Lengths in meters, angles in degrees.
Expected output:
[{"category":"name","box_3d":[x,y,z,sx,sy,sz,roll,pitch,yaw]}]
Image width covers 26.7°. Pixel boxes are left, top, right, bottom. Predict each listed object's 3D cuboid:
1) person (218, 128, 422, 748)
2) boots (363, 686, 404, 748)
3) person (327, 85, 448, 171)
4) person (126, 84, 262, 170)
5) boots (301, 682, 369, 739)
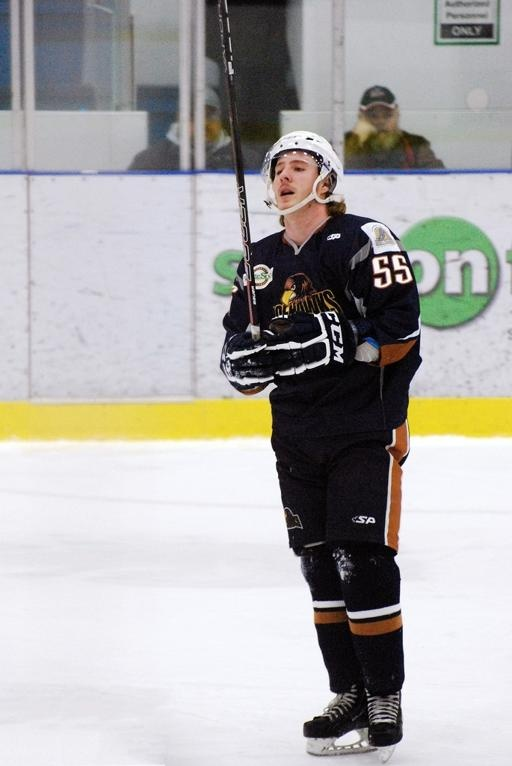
[{"category":"person","box_3d":[0.172,0.120,2.401,0.410,1.356,0.665,-1,10,-17]},{"category":"boots","box_3d":[0.267,0.703,2.240,0.048,0.055,0.147,-5,-2,5]},{"category":"person","box_3d":[0.707,-1.540,6.333,0.838,0.395,0.958,0,27,-3]},{"category":"person","box_3d":[-0.322,-1.452,6.302,0.949,0.439,0.326,-4,16,-14]},{"category":"boots","box_3d":[0.178,0.721,2.350,0.192,0.092,0.059,7,-12,-37]}]
